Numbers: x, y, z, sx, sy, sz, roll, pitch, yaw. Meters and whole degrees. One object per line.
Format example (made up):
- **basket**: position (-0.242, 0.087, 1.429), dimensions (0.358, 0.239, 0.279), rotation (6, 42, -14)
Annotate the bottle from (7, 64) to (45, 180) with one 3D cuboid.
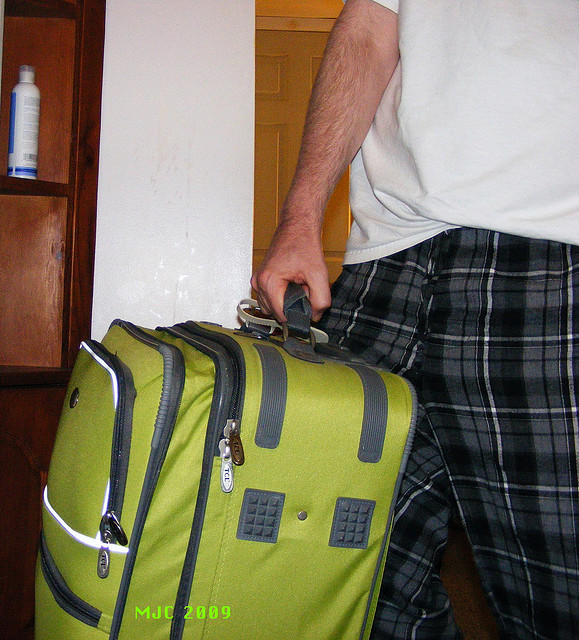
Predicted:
- **bottle**: position (-0.575, -0.438, 1.402), dimensions (0.059, 0.236, 0.090), rotation (2, 10, -32)
